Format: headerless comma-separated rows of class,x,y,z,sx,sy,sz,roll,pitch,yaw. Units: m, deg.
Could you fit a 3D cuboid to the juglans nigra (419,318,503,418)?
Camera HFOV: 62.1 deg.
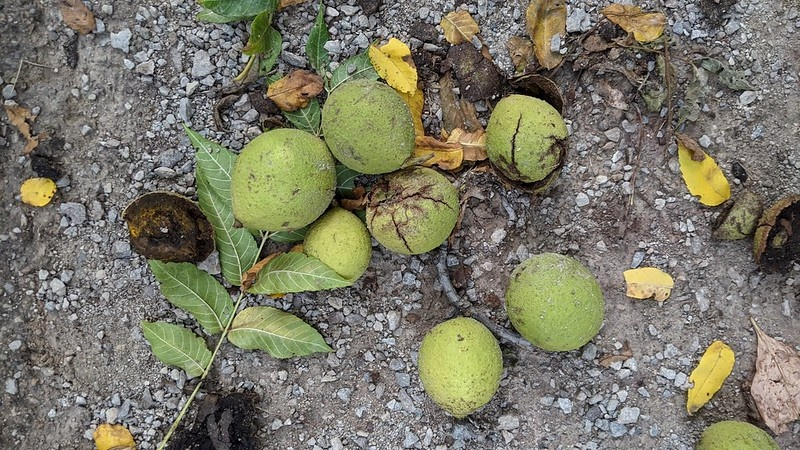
juglans nigra,0.446,1.021,4.864,0.634,0.246,0.649,-41,82,-5

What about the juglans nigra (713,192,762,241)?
juglans nigra,2.604,-0.054,5.129,0.312,0.096,0.392,20,95,3

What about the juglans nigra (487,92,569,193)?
juglans nigra,0.911,-0.589,4.795,0.640,0.369,0.628,21,104,9

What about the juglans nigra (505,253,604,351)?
juglans nigra,1.123,0.559,4.805,0.655,0.225,0.715,-30,81,-4

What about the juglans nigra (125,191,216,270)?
juglans nigra,-1.732,0.031,5.036,0.686,0.286,0.509,9,81,3

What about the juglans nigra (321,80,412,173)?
juglans nigra,-0.163,-0.710,4.854,0.674,0.523,0.548,30,109,8

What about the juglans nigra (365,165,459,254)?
juglans nigra,0.090,-0.092,4.931,0.678,0.458,0.614,-21,81,-2

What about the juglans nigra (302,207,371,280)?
juglans nigra,-0.456,0.102,5.035,0.417,0.520,0.402,-28,116,7
